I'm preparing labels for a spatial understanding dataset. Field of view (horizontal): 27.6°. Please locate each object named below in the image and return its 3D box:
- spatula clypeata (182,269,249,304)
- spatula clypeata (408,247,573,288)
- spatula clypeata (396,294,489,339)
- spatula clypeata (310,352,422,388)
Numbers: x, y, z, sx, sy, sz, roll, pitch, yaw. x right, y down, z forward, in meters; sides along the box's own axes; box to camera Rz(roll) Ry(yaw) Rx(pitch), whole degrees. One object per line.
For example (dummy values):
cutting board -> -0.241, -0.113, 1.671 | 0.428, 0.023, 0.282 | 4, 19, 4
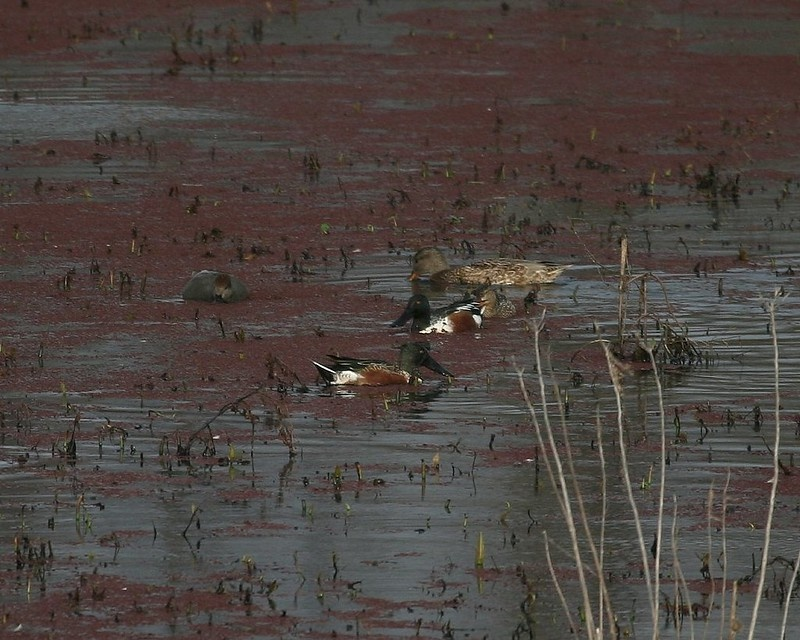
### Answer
spatula clypeata -> -2.355, -0.431, 20.693 | 0.750, 0.405, 0.430 | 0, -2, 32
spatula clypeata -> 1.137, -0.742, 22.114 | 2.334, 0.580, 0.684 | 1, -1, 6
spatula clypeata -> 0.453, -0.066, 19.131 | 1.216, 0.462, 0.369 | 2, -2, -38
spatula clypeata -> -0.333, 0.526, 16.771 | 1.115, 0.311, 0.260 | 1, -2, -9
